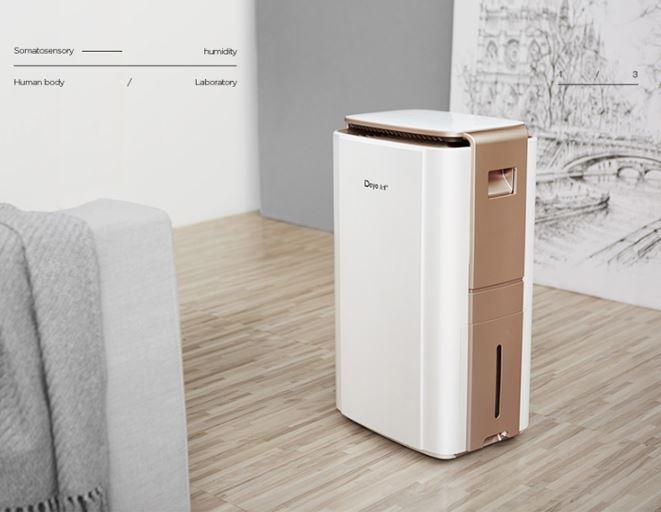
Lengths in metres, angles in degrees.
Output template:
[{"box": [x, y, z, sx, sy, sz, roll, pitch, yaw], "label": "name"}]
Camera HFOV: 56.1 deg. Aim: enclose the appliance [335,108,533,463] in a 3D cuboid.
[{"box": [0.341, 0.116, 2.232, 0.788, 1.148, 0.502, 7, 25, 18], "label": "appliance"}]
